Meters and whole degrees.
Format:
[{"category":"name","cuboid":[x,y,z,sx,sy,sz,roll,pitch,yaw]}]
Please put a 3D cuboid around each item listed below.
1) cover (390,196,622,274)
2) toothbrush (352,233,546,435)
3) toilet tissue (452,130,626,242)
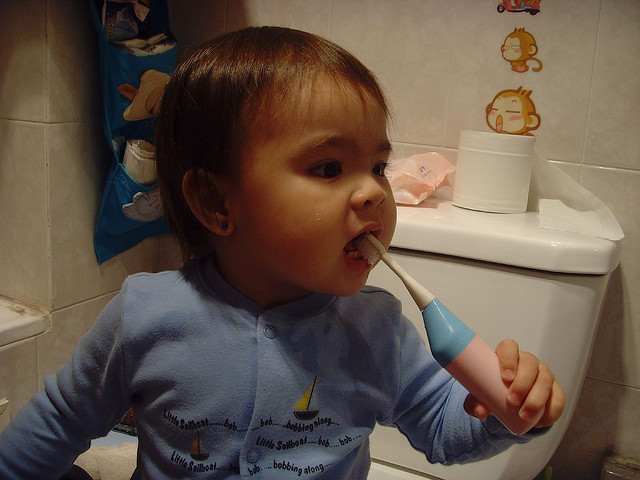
[{"category":"cover","cuboid":[0.363,0.015,1.122,0.436,0.054,0.254,8,5,37]},{"category":"toothbrush","cuboid":[0.198,0.137,0.810,0.079,0.085,0.417,-27,61,-33]},{"category":"toilet tissue","cuboid":[0.454,-0.122,1.141,0.391,0.167,0.301,20,20,41]}]
